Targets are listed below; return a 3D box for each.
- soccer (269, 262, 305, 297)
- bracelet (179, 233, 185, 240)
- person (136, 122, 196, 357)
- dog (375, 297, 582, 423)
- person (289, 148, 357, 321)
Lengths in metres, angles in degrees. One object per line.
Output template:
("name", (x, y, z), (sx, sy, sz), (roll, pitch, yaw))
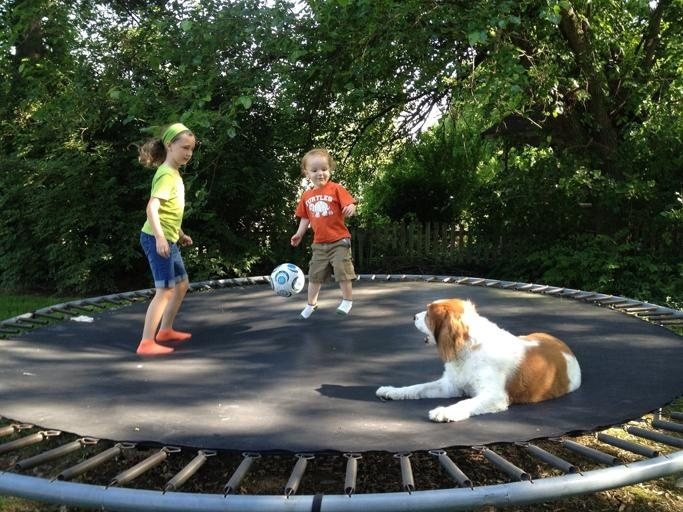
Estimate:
("soccer", (-0.467, 0.204, 5.033), (0.282, 0.263, 0.281), (-2, 0, 27))
("bracelet", (-1.166, -0.147, 4.338), (0.044, 0.041, 0.043), (0, 5, 1))
("person", (-1.187, -0.137, 4.008), (0.438, 1.460, 0.750), (-3, 13, -11))
("dog", (0.715, 0.502, 3.108), (0.843, 0.427, 0.590), (2, -5, -23))
("person", (-0.154, -0.191, 4.699), (0.483, 1.266, 0.561), (-2, 13, -5))
